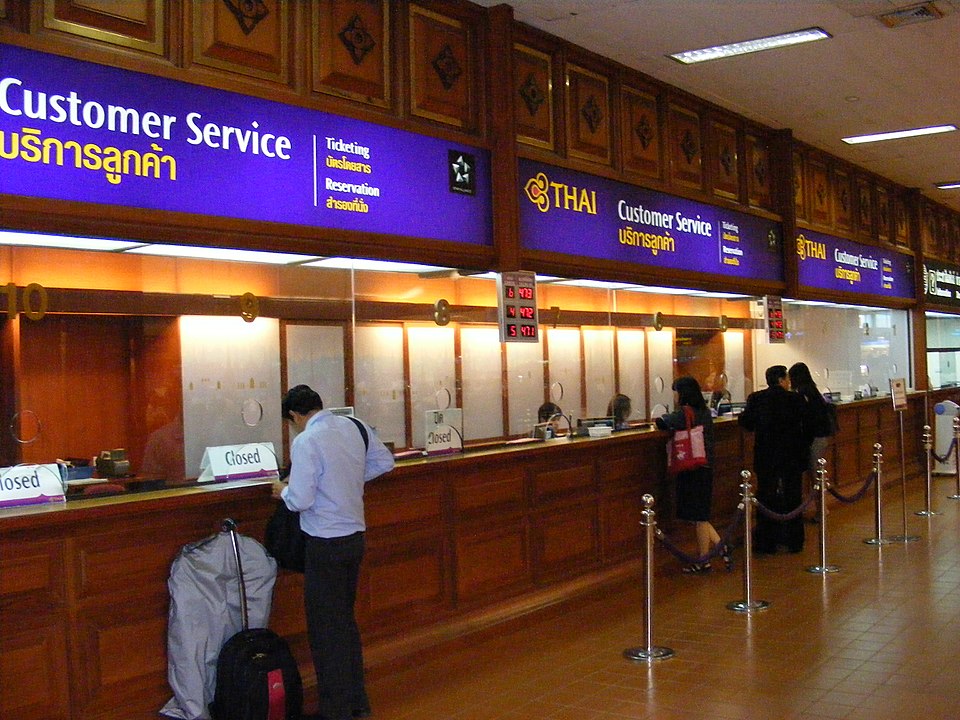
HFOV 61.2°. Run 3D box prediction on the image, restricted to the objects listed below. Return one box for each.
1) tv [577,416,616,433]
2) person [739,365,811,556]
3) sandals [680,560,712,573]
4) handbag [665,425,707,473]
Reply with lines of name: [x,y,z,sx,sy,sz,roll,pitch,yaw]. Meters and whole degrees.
tv: [1.035,0.590,7.319,0.173,0.131,0.477,-1,1,37]
person: [2.944,0.967,8.031,0.546,1.443,0.434,-2,1,-38]
sandals: [1.981,1.859,7.366,0.266,0.078,0.352,-1,1,15]
handbag: [1.888,0.802,7.347,0.340,0.443,0.163,-10,-24,30]
